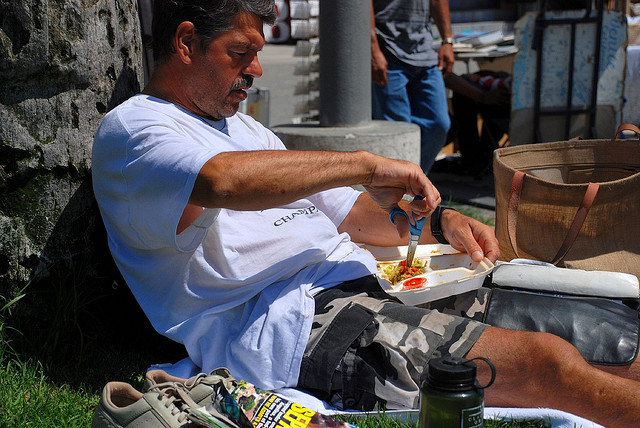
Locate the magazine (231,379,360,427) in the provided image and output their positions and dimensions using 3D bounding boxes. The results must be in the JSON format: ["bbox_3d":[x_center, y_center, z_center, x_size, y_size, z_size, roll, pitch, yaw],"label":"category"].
[{"bbox_3d":[-0.138,0.867,3.012,0.520,0.158,0.129,3,19,14],"label":"magazine"}]

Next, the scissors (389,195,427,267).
[{"bbox_3d":[0.528,0.085,3.752,0.188,0.376,0.257,1,10,17],"label":"scissors"}]

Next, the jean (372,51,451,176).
[{"bbox_3d":[0.895,-1.001,6.187,0.564,1.326,0.508,-3,29,12],"label":"jean"}]
